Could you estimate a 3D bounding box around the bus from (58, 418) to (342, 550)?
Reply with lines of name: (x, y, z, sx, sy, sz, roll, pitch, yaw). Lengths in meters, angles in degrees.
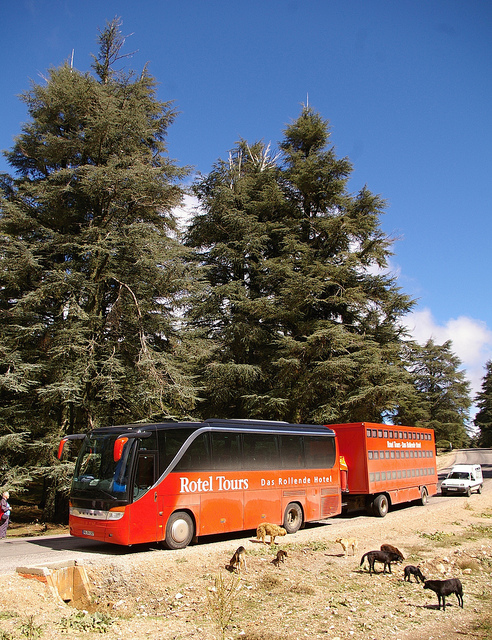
bus: (-0.758, 4.410, 14.824, 2.506, 2.914, 8.426, -17, -22, 42)

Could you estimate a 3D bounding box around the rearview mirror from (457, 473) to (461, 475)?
rearview mirror: (13.442, 9.713, 33.221, 0.246, 0.087, 0.123, -8, -17, 42)

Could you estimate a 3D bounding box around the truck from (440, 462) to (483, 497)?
truck: (13.608, 10.111, 33.408, 1.894, 1.541, 3.426, -9, -25, 34)

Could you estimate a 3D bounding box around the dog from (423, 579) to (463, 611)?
dog: (3.601, 4.918, 9.460, 0.811, 0.483, 0.304, 8, -14, -22)

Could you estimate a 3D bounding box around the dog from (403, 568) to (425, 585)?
dog: (3.447, 5.233, 10.784, 0.391, 0.322, 0.815, 0, -13, 17)

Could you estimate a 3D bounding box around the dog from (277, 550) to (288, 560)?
dog: (0.753, 5.005, 11.219, 0.176, 0.198, 0.339, 3, -12, 5)

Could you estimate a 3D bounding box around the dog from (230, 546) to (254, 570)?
dog: (-0.174, 4.695, 10.435, 0.281, 0.374, 0.358, 4, -13, 0)

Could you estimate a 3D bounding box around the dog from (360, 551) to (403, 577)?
dog: (2.832, 5.177, 11.256, 1.005, 0.449, 0.433, 12, -15, -34)

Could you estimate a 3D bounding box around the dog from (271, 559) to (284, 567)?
dog: (0.673, 5.106, 11.127, 0.243, 0.104, 0.339, 2, -12, 5)

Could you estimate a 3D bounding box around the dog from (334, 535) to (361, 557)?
dog: (2.490, 5.425, 12.684, 0.370, 0.403, 1.033, -1, -13, 19)

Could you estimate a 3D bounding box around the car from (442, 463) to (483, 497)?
car: (13.585, 10.051, 33.194, 1.799, 1.381, 3.103, -10, -23, 33)
